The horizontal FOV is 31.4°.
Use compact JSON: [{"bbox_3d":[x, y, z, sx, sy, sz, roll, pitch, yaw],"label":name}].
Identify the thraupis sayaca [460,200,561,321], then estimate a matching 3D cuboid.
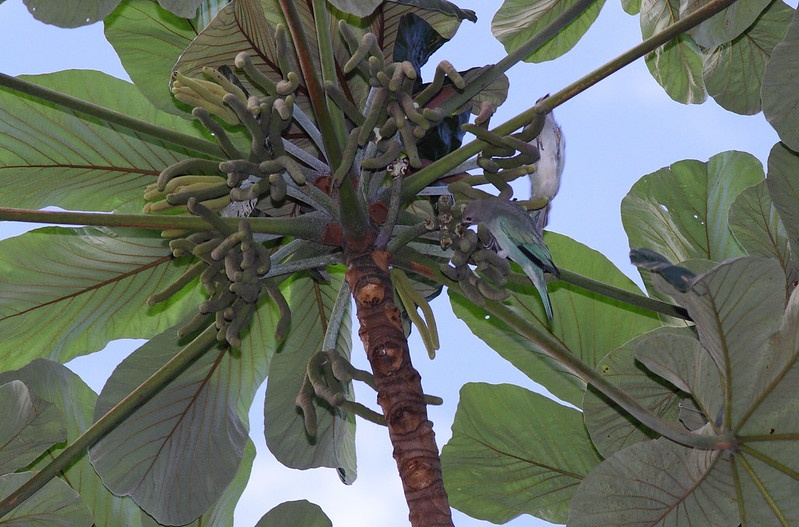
[{"bbox_3d":[0.518,-0.057,6.076,0.560,0.272,0.209,44,-76,-10],"label":"thraupis sayaca"}]
